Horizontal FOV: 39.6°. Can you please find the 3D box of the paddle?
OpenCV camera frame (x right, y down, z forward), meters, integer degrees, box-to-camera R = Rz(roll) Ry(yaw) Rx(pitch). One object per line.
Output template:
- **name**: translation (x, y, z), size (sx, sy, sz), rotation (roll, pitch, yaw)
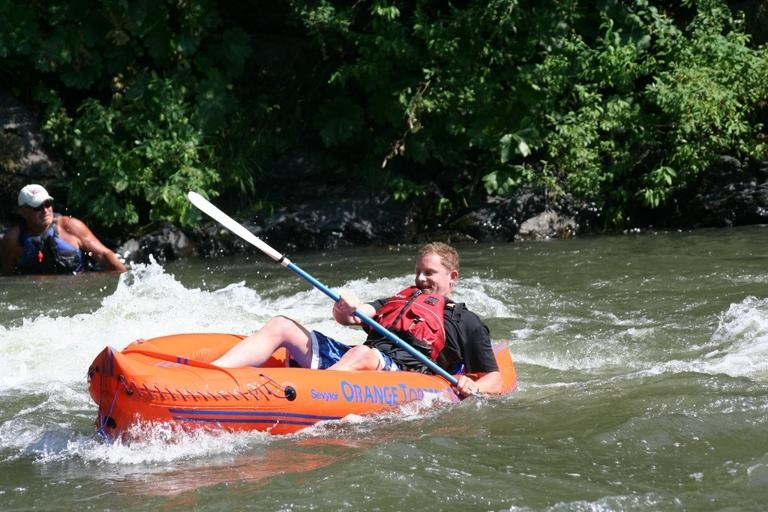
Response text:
- **paddle**: translation (-0.816, 0.405, 13.275), size (0.228, 3.642, 0.279), rotation (-49, -9, -10)
